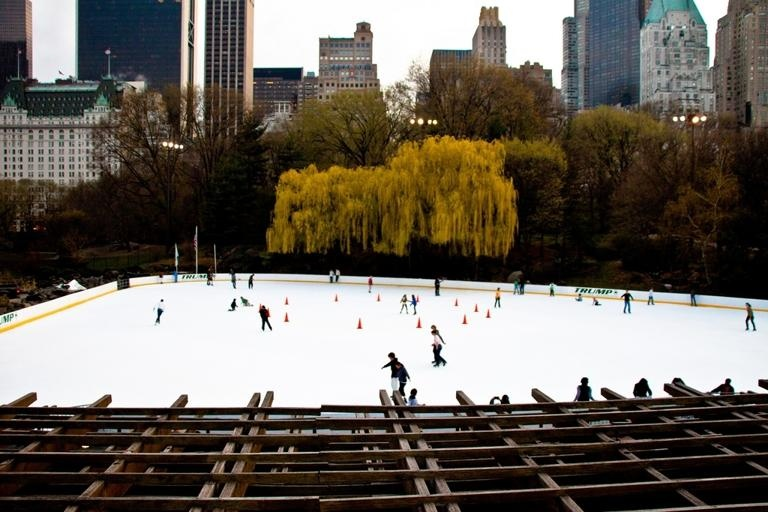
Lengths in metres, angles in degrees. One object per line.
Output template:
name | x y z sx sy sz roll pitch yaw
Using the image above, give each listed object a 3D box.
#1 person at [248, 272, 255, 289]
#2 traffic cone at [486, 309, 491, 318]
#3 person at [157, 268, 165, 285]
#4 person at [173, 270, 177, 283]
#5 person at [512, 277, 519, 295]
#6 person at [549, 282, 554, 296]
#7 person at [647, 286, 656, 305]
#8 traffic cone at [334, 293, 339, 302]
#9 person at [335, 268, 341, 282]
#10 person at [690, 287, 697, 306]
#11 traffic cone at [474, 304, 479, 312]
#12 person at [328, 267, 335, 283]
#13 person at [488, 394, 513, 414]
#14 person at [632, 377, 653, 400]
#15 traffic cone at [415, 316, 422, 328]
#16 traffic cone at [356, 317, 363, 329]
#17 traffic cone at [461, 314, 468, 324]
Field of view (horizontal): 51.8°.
person | -13.791 2.527 81.652 0.566 1.267 2.160 -3 11 -12
traffic cone | 9.470 5.162 70.504 0.543 0.745 0.533 7 -7 -32
person | -23.738 2.293 83.831 0.567 1.069 1.395 -4 11 -17
person | -22.387 2.095 84.849 0.463 1.255 1.366 -3 11 -13
person | 13.421 3.006 79.000 0.672 1.322 1.078 1 10 8
person | 16.701 3.216 77.704 0.520 1.278 1.584 1 10 11
person | 25.553 3.836 74.730 0.775 1.217 1.504 3 11 19
traffic cone | -4.499 3.990 75.015 0.524 0.748 0.542 6 11 18
person | -4.932 1.969 84.558 0.520 1.273 1.447 -2 10 -5
person | 29.164 4.006 73.890 0.504 1.117 0.828 -4 11 -19
traffic cone | 8.672 4.726 71.860 0.485 0.573 0.678 -12 -20 0
person | -5.459 2.099 84.199 0.664 1.186 0.732 -2 10 -5
person | 8.622 10.621 57.460 1.458 1.502 0.888 -1 4 -3
person | 19.270 9.826 58.391 1.002 2.339 0.838 10 19 34
traffic cone | 3.098 5.771 67.637 0.567 0.848 0.606 0 -4 2
traffic cone | -1.989 5.745 67.221 0.604 0.966 0.701 3 19 12
traffic cone | 7.152 5.507 68.486 0.604 0.837 0.644 -1 -1 6
